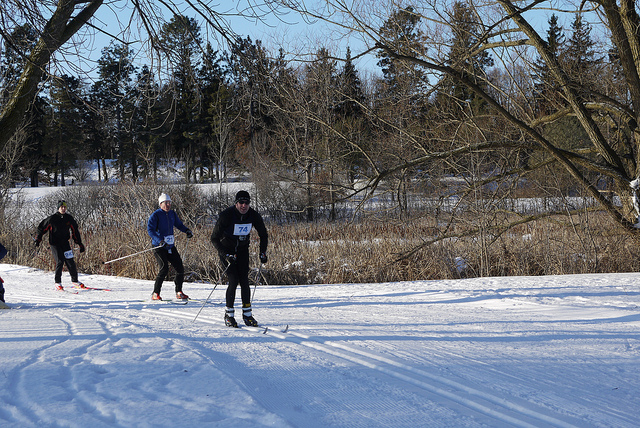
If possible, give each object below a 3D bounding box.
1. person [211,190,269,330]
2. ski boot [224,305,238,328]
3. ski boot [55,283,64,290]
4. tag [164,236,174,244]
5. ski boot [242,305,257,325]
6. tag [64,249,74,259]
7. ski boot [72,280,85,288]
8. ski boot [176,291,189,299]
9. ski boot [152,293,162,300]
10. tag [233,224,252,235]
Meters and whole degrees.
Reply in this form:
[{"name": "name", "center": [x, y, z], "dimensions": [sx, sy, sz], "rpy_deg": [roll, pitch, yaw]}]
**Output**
[{"name": "person", "center": [-1.855, 1.024, 16.611], "dimensions": [1.219, 3.064, 0.759], "rpy_deg": [-1, -2, -13]}, {"name": "ski boot", "center": [-2.023, 2.298, 16.555], "dimensions": [0.471, 0.469, 0.213], "rpy_deg": [-4, -3, 35]}, {"name": "ski boot", "center": [-7.318, 1.996, 20.371], "dimensions": [0.238, 0.255, 0.150], "rpy_deg": [0, 1, 23]}, {"name": "tag", "center": [-3.977, 0.679, 19.109], "dimensions": [0.021, 0.160, 0.202], "rpy_deg": [-10, -5, 37]}, {"name": "ski boot", "center": [-1.530, 2.295, 16.578], "dimensions": [0.207, 0.481, 0.467], "rpy_deg": [1, -4, -45]}, {"name": "tag", "center": [-7.205, 1.146, 20.988], "dimensions": [0.179, 0.230, 0.353], "rpy_deg": [-2, -3, 10]}, {"name": "ski boot", "center": [-6.847, 1.963, 20.630], "dimensions": [0.363, 0.186, 0.141], "rpy_deg": [6, 4, -1]}, {"name": "ski boot", "center": [-3.560, 2.084, 18.941], "dimensions": [0.361, 0.172, 0.127], "rpy_deg": [3, 1, 2]}, {"name": "ski boot", "center": [-4.235, 2.101, 18.888], "dimensions": [0.209, 0.162, 0.269], "rpy_deg": [-2, -3, -7]}, {"name": "tag", "center": [-1.742, 0.345, 16.574], "dimensions": [0.444, 0.242, 0.119], "rpy_deg": [0, -3, -31]}]
